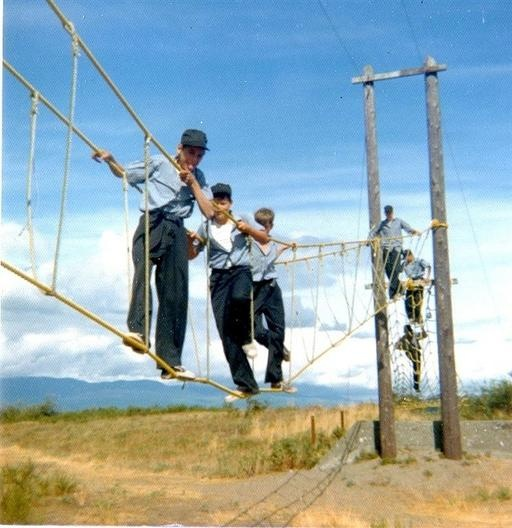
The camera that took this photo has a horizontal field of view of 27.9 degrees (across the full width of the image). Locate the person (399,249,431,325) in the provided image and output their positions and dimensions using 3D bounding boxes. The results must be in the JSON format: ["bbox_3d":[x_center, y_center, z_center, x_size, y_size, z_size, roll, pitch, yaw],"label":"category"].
[{"bbox_3d":[3.395,0.585,22.650,0.706,1.905,0.523,-6,16,3],"label":"person"}]

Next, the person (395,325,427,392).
[{"bbox_3d":[3.431,2.147,22.812,0.683,1.562,1.000,-4,0,9],"label":"person"}]

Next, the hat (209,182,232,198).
[{"bbox_3d":[-0.561,-1.115,16.044,0.297,0.240,0.217,-5,0,-4],"label":"hat"}]

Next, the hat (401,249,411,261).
[{"bbox_3d":[3.000,-0.166,20.947,0.167,0.210,0.245,-6,2,7],"label":"hat"}]

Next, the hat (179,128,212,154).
[{"bbox_3d":[-0.912,-1.823,15.239,0.365,0.316,0.440,-5,0,-13],"label":"hat"}]
